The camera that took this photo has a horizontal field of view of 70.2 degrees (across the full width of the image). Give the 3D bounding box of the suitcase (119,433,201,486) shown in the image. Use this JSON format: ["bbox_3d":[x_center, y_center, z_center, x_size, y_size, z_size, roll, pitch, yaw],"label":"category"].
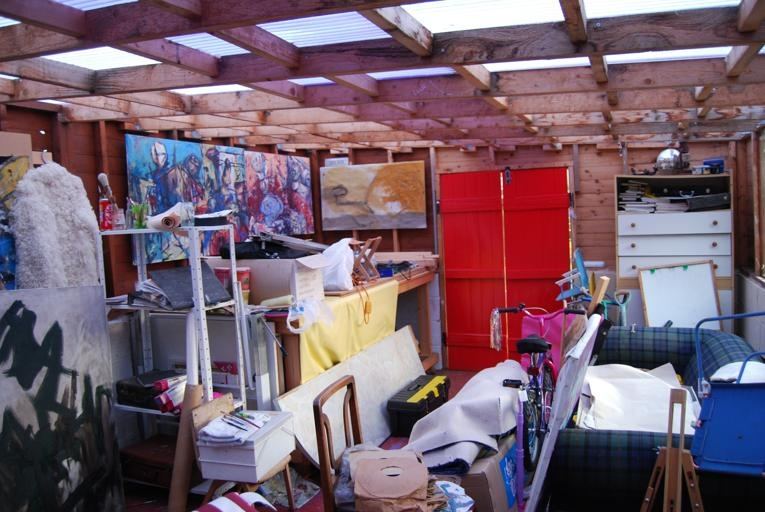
[{"bbox_3d":[-1.846,1.651,4.354,0.505,0.129,0.483,3,3,15],"label":"suitcase"}]

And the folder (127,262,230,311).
[{"bbox_3d":[-1.438,0.215,4.012,0.607,0.296,0.437,-4,5,-41],"label":"folder"}]

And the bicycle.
[{"bbox_3d":[1.267,1.000,4.534,0.706,1.003,1.806,1,4,21],"label":"bicycle"}]

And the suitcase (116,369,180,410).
[{"bbox_3d":[-1.728,1.016,4.197,0.464,0.200,0.389,1,4,27],"label":"suitcase"}]

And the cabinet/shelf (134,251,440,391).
[{"bbox_3d":[-0.898,0.590,4.814,0.617,0.709,1.663,1,3,29],"label":"cabinet/shelf"}]

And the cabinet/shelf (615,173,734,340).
[{"bbox_3d":[3.775,0.070,6.910,1.389,2.091,0.887,-2,-4,32],"label":"cabinet/shelf"}]
